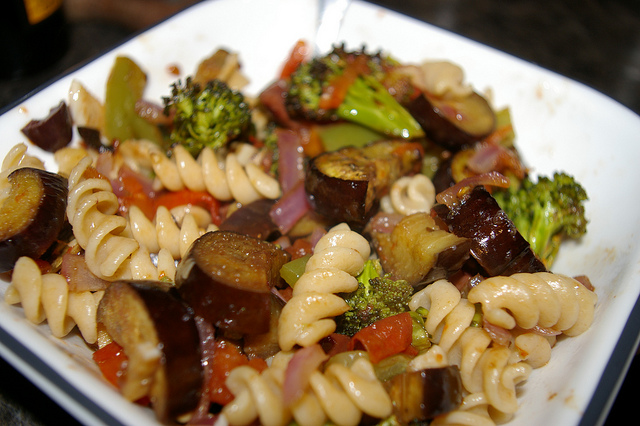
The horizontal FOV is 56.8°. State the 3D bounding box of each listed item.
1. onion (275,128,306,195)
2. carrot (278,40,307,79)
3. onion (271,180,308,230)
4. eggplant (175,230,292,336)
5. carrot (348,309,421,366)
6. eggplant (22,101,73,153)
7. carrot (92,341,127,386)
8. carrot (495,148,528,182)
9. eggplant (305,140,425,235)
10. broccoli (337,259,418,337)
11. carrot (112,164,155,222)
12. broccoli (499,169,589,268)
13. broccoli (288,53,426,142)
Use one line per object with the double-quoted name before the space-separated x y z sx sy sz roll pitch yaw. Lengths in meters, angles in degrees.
"onion" -0.169 -0.304 3.387 0.094 0.330 0.208 5 12 35
"carrot" -0.156 -0.961 3.730 0.087 0.085 0.350 17 67 18
"onion" -0.156 -0.029 3.254 0.240 0.117 0.132 -36 67 -28
"eggplant" -0.429 0.291 2.821 0.465 0.177 0.458 14 55 1
"carrot" 0.309 0.599 2.810 0.287 0.114 0.180 -30 78 -18
"eggplant" -1.472 -0.447 3.237 0.251 0.060 0.259 -13 93 -31
"carrot" -0.963 0.685 2.745 0.205 0.051 0.124 38 59 17
"carrot" 1.056 -0.254 3.295 0.204 0.046 0.132 47 50 -29
"eggplant" 0.236 -0.241 3.385 0.445 0.351 0.778 27 39 25
"broccoli" 0.273 0.441 3.004 0.288 0.132 0.349 -5 61 -2
"carrot" -1.002 -0.124 3.248 0.261 0.067 0.175 27 94 17
"broccoli" 1.188 0.051 3.154 0.291 0.292 0.307 34 49 -7
"broccoli" 0.230 -0.672 3.478 0.819 0.224 0.375 15 55 2
